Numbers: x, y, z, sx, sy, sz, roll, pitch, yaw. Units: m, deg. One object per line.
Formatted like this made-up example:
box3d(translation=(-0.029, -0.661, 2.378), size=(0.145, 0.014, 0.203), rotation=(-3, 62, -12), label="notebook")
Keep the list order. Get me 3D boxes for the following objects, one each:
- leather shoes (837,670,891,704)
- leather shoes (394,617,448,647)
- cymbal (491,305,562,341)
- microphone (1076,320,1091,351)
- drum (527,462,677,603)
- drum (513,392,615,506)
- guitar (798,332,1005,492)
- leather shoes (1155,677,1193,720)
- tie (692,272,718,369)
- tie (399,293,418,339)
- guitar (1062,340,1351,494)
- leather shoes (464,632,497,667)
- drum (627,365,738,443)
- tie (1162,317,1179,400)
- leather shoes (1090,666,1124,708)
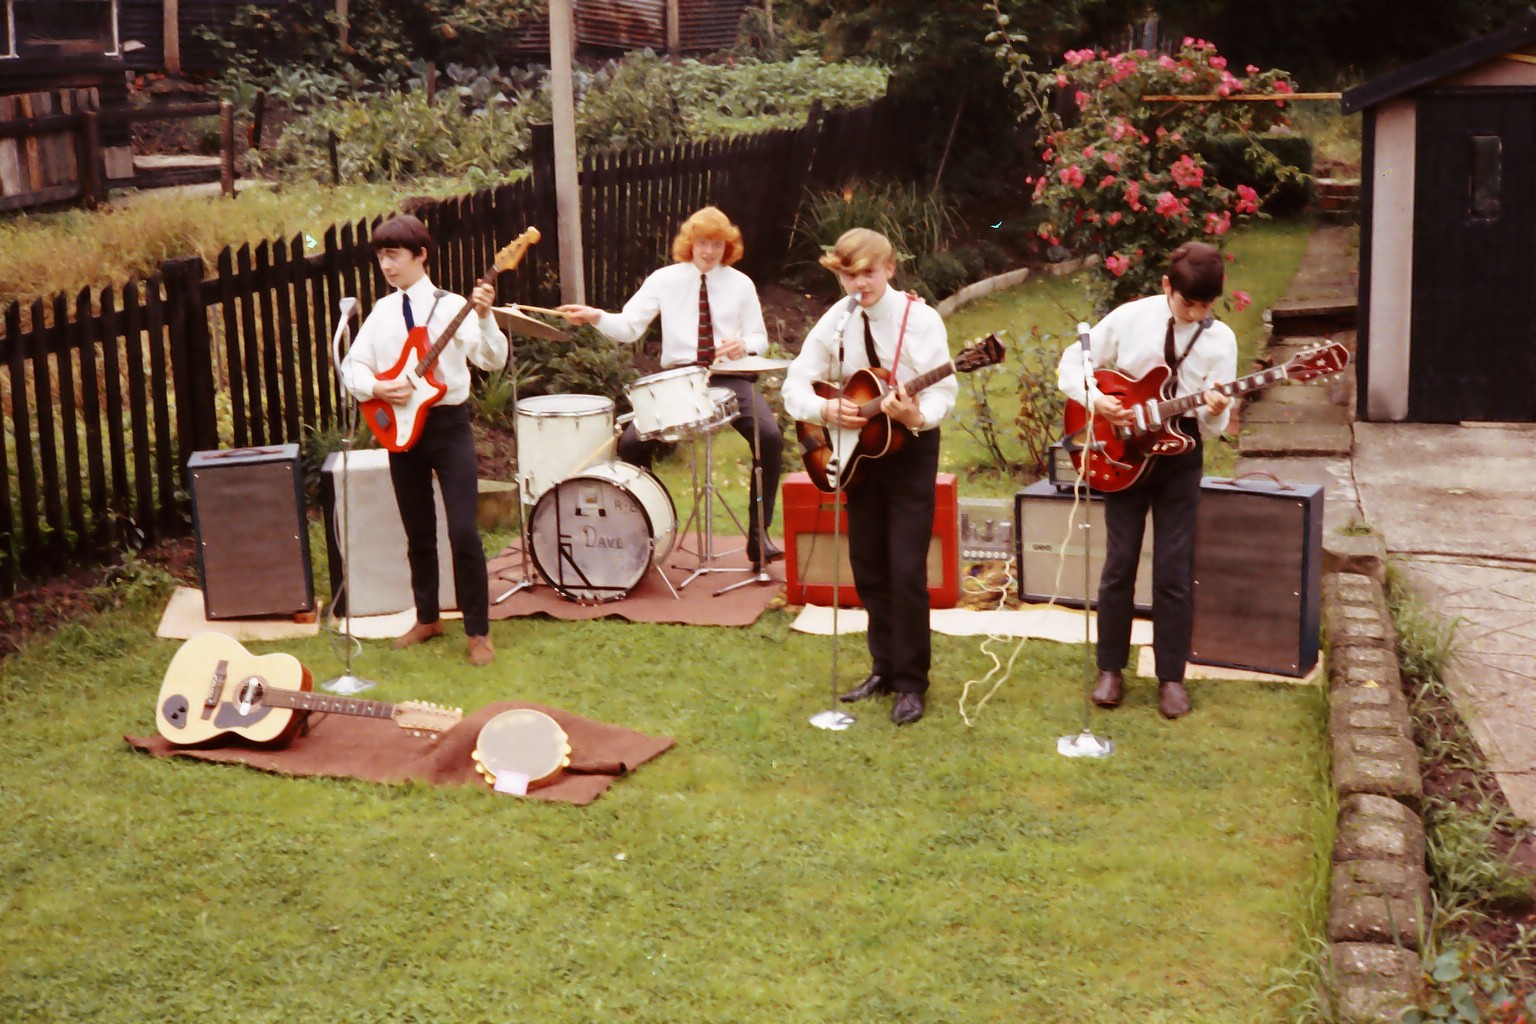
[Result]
box3d(translation=(0.564, 1.021, 8.599), size=(0.348, 0.150, 0.123), rotation=(-6, 16, -3), label="leather shoes")
box3d(translation=(-2.184, 0.769, 9.290), size=(0.293, 0.244, 0.107), rotation=(2, 6, -34), label="leather shoes")
box3d(translation=(-1.478, -1.148, 8.943), size=(0.229, 0.112, 0.237), rotation=(18, -4, 7), label="cymbal")
box3d(translation=(1.701, -0.949, 7.989), size=(0.057, 0.145, 0.116), rotation=(1, 12, 13), label="microphone")
box3d(translation=(-1.053, 0.088, 9.898), size=(1.034, 1.120, 0.831), rotation=(7, 9, 13), label="drum")
box3d(translation=(-1.397, -0.466, 9.863), size=(0.638, 0.683, 0.670), rotation=(5, 13, 28), label="drum")
box3d(translation=(0.651, -0.538, 8.098), size=(1.119, 0.867, 0.299), rotation=(3, 12, 21), label="guitar")
box3d(translation=(2.270, 1.054, 8.289), size=(0.119, 0.096, 0.238), rotation=(-7, 16, 1), label="leather shoes")
box3d(translation=(-0.433, -1.308, 9.995), size=(0.139, 0.582, 0.231), rotation=(1, 11, 11), label="tie")
box3d(translation=(-2.146, -1.186, 8.785), size=(0.050, 0.211, 0.145), rotation=(-5, -9, 1), label="tie")
box3d(translation=(2.244, -0.471, 8.040), size=(1.271, 0.796, 0.309), rotation=(2, 11, 16), label="guitar")
box3d(translation=(-1.762, 0.852, 9.053), size=(0.107, 0.098, 0.264), rotation=(-7, -17, 14), label="leather shoes")
box3d(translation=(-0.540, -0.664, 9.466), size=(0.415, 0.331, 0.611), rotation=(-9, -1, 6), label="drum")
box3d(translation=(2.188, -0.852, 8.018), size=(0.047, 0.361, 0.141), rotation=(8, -7, -43), label="tie")
box3d(translation=(1.933, 1.007, 8.440), size=(0.194, 0.229, 0.556), rotation=(-1, -2, 13), label="leather shoes")
